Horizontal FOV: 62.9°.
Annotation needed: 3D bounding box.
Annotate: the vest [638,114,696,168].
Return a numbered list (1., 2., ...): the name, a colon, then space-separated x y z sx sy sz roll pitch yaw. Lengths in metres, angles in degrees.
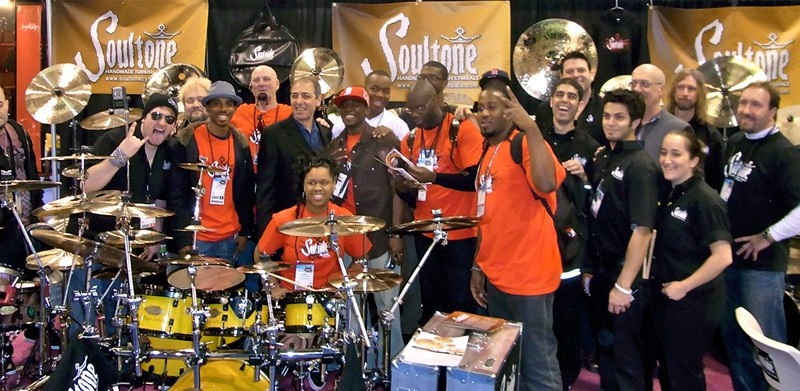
1. vest: 3.585 -0.727 8.749 0.430 0.632 0.745 20 1 -35

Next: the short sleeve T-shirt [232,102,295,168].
1. short sleeve T-shirt: -2.131 -0.995 10.328 1.072 0.882 0.596 2 13 27

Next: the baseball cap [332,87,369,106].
1. baseball cap: -0.697 -1.432 9.275 0.466 0.283 0.388 -1 2 -11

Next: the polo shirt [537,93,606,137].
1. polo shirt: 2.489 -1.139 9.266 0.881 0.445 0.845 6 46 15

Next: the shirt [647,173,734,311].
1. shirt: 3.885 0.518 8.585 1.057 1.674 1.530 -6 8 -7

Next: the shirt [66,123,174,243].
1. shirt: -3.826 -0.142 9.043 1.317 1.447 0.838 36 2 -24

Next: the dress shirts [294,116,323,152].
1. dress shirts: -1.269 -0.857 9.546 0.408 0.480 0.513 -14 40 3

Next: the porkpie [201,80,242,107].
1. porkpie: -2.590 -1.527 9.594 0.434 0.152 0.472 1 -12 -7

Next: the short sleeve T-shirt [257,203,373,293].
1. short sleeve T-shirt: -1.077 0.696 8.532 1.389 0.900 0.568 2 -17 -5

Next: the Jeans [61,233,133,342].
1. Jeans: -4.121 1.245 8.872 0.804 1.530 1.825 -1 2 -26
